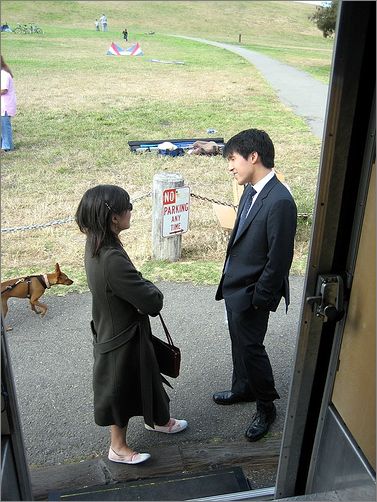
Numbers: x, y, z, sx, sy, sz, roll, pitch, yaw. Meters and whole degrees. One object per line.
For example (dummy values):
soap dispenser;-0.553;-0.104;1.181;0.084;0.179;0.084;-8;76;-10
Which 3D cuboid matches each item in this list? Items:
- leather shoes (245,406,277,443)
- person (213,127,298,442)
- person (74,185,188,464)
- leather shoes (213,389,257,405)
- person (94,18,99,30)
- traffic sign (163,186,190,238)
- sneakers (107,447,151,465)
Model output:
leather shoes;0.530;1.243;3.188;0.116;0.121;0.317;3;6;31
person;0.470;0.298;3.056;0.423;2.159;0.662;-6;22;-16
person;-0.362;0.400;2.572;0.472;1.552;0.325;-4;22;-11
leather shoes;0.371;1.190;3.623;0.349;0.142;0.125;3;28;2
person;-7.785;-19.232;37.645;0.404;1.033;1.601;-4;21;-10
traffic sign;-0.179;-0.536;5.953;0.613;0.811;0.040;-16;35;-34
sneakers;-0.398;1.340;2.902;0.247;0.094;0.112;1;-7;1
